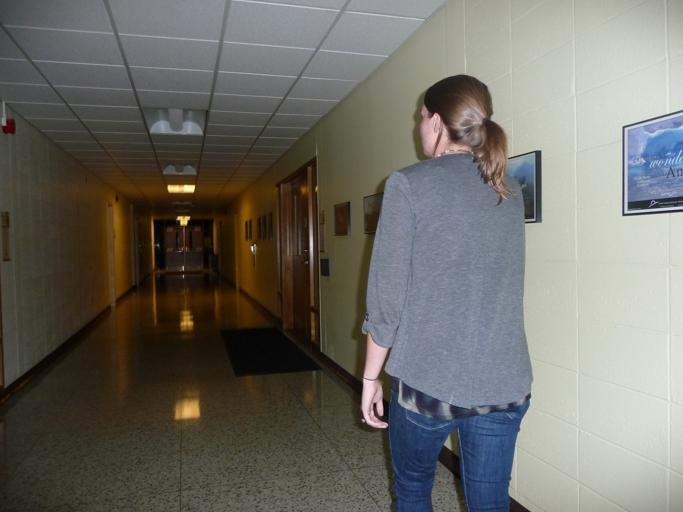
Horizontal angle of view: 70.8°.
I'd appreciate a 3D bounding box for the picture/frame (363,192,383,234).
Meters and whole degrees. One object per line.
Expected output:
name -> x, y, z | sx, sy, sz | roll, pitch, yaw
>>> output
picture/frame -> 0.299, -0.383, 4.362 | 0.042, 0.348, 0.454 | 2, -1, -17
